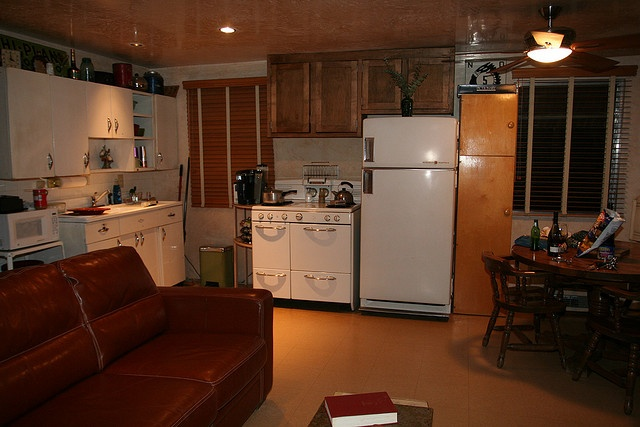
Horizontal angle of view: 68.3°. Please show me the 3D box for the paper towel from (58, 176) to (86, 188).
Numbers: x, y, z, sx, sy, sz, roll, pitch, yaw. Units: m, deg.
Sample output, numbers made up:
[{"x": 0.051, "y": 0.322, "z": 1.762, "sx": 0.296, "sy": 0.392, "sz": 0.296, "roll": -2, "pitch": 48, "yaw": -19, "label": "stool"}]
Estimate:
[{"x": -2.896, "y": -0.365, "z": 5.560, "sx": 0.057, "sy": 0.127, "sz": 0.351, "roll": 2, "pitch": 7, "yaw": 17, "label": "paper towel"}]

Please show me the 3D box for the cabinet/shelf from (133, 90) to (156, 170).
[{"x": -2.318, "y": -1.061, "z": 6.098, "sx": 0.287, "sy": 0.978, "sz": 0.299, "roll": 0, "pitch": 8, "yaw": 7, "label": "cabinet/shelf"}]

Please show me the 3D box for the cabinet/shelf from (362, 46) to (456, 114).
[{"x": 1.025, "y": -1.507, "z": 5.686, "sx": 1.128, "sy": 0.742, "sz": 0.373, "roll": 0, "pitch": -2, "yaw": 9, "label": "cabinet/shelf"}]

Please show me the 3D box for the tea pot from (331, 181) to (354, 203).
[{"x": 0.298, "y": -0.253, "z": 5.807, "sx": 0.329, "sy": 0.306, "sz": 0.211, "roll": -3, "pitch": -3, "yaw": 44, "label": "tea pot"}]

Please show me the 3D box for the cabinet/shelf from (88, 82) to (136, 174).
[{"x": -2.625, "y": -1.006, "z": 5.661, "sx": 0.377, "sy": 1.007, "sz": 0.911, "roll": -3, "pitch": 6, "yaw": 13, "label": "cabinet/shelf"}]

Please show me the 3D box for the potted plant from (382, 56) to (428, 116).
[{"x": 1.033, "y": -1.475, "z": 5.655, "sx": 0.684, "sy": 0.745, "sz": 0.683, "roll": -1, "pitch": 9, "yaw": 0, "label": "potted plant"}]

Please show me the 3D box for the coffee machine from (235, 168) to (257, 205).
[{"x": -0.922, "y": -0.327, "z": 5.877, "sx": 0.279, "sy": 0.422, "sz": 0.165, "roll": -3, "pitch": 8, "yaw": -17, "label": "coffee machine"}]

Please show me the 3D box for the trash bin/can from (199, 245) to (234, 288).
[{"x": -1.412, "y": 0.730, "z": 6.447, "sx": 0.515, "sy": 0.520, "sz": 0.514, "roll": 1, "pitch": 2, "yaw": 41, "label": "trash bin/can"}]

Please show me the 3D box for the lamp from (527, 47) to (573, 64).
[{"x": 2.029, "y": -1.375, "z": 4.117, "sx": 0.321, "sy": 0.080, "sz": 0.422, "roll": 6, "pitch": 9, "yaw": 42, "label": "lamp"}]

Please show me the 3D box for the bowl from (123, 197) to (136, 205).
[{"x": -2.398, "y": -0.149, "z": 5.965, "sx": 0.111, "sy": 0.052, "sz": 0.151, "roll": 2, "pitch": -5, "yaw": -39, "label": "bowl"}]

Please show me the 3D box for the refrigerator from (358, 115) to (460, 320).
[{"x": 0.848, "y": 0.035, "z": 5.784, "sx": 1.490, "sy": 2.150, "sz": 1.393, "roll": 1, "pitch": -1, "yaw": 16, "label": "refrigerator"}]

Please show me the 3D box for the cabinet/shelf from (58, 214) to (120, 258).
[{"x": -2.608, "y": 0.324, "z": 5.283, "sx": 0.451, "sy": 0.535, "sz": 0.598, "roll": 4, "pitch": 6, "yaw": 14, "label": "cabinet/shelf"}]

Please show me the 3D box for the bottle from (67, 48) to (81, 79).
[{"x": -2.802, "y": -1.690, "z": 5.337, "sx": 0.118, "sy": 0.391, "sz": 0.609, "roll": -5, "pitch": 9, "yaw": -27, "label": "bottle"}]

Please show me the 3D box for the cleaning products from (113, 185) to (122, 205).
[{"x": -2.627, "y": -0.253, "z": 6.086, "sx": 0.108, "sy": 0.244, "sz": 0.227, "roll": -4, "pitch": 8, "yaw": -20, "label": "cleaning products"}]

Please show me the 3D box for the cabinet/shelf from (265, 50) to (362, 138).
[{"x": -0.194, "y": -1.462, "z": 5.933, "sx": 1.279, "sy": 0.955, "sz": 0.473, "roll": -9, "pitch": 21, "yaw": -29, "label": "cabinet/shelf"}]

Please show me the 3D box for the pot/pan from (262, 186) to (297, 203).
[{"x": -0.498, "y": -0.220, "z": 5.801, "sx": 0.361, "sy": 0.137, "sz": 0.195, "roll": 1, "pitch": 2, "yaw": 16, "label": "pot/pan"}]

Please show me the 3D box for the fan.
[{"x": 2.059, "y": -1.447, "z": 4.047, "sx": 0.781, "sy": 0.270, "sz": 0.719, "roll": -3, "pitch": 2, "yaw": -39, "label": "fan"}]

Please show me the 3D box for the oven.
[{"x": -0.026, "y": 0.506, "z": 5.874, "sx": 1.476, "sy": 1.223, "sz": 0.883, "roll": 1, "pitch": 0, "yaw": 34, "label": "oven"}]

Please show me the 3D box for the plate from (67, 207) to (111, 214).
[{"x": -2.613, "y": -0.032, "z": 5.362, "sx": 0.428, "sy": 0.054, "sz": 0.427, "roll": -4, "pitch": 8, "yaw": -27, "label": "plate"}]

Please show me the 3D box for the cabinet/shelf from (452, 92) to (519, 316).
[{"x": 1.836, "y": -0.153, "z": 5.651, "sx": 0.787, "sy": 2.337, "sz": 0.586, "roll": -5, "pitch": 15, "yaw": -14, "label": "cabinet/shelf"}]
